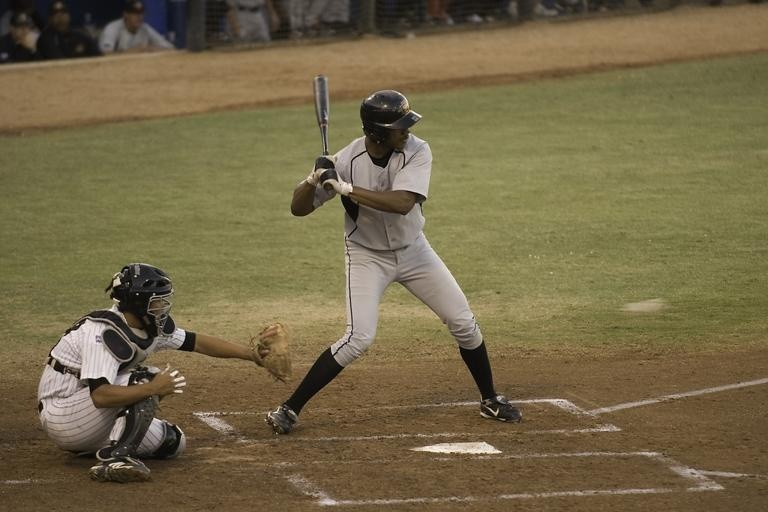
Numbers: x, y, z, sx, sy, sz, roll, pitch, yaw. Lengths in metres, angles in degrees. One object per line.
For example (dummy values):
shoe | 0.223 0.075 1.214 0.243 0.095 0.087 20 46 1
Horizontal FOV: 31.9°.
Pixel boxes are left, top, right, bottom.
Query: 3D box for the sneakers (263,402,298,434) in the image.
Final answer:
sneakers | -0.917 1.478 12.303 0.212 0.178 0.358 -19 14 -25

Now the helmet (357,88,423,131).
helmet | 0.091 -1.374 12.273 0.638 0.217 0.413 10 34 19

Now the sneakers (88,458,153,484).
sneakers | -2.255 1.845 11.558 0.503 0.154 0.222 0 14 1

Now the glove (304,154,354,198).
glove | -0.454 -0.720 12.096 0.462 0.131 0.348 8 44 -36

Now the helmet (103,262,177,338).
helmet | -2.008 0.361 11.815 0.734 0.473 0.534 8 12 36

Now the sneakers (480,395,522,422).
sneakers | 1.080 1.426 12.469 0.527 0.158 0.175 3 15 22
